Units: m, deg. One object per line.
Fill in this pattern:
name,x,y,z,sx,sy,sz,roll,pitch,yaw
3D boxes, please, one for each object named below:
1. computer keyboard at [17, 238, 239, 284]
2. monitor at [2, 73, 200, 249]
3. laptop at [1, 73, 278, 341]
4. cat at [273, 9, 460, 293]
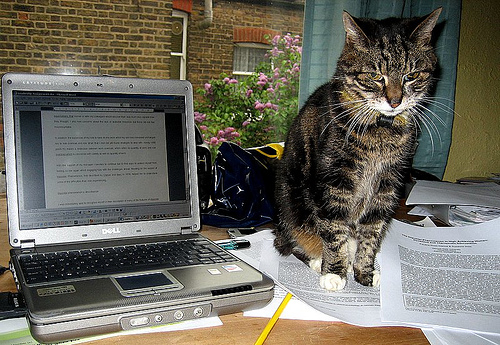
computer keyboard,-0.238,0.167,0.779,0.405,0.036,0.125,-5,9,-17
monitor,-0.329,-0.018,0.849,0.395,0.333,0.028,-4,-4,-16
laptop,-0.251,0.066,0.879,0.508,0.461,0.540,2,6,-30
cat,0.225,-0.060,0.869,0.368,0.569,0.292,0,9,15
